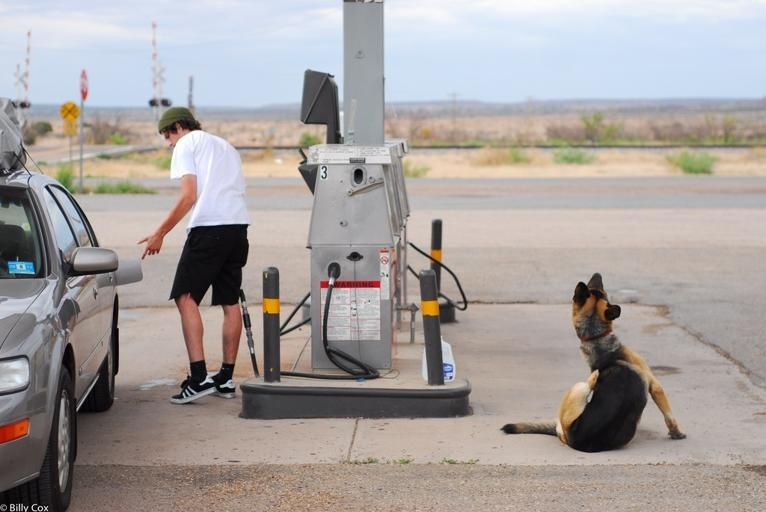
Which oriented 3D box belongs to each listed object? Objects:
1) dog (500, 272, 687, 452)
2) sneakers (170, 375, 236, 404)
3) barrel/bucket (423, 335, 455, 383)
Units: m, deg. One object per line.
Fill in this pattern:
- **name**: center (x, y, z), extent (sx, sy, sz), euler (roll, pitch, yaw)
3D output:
- **dog**: center (1.859, 0.926, 11.285), extent (1.858, 1.487, 1.075), euler (-5, 3, 28)
- **sneakers**: center (-1.751, 1.316, 12.084), extent (0.733, 0.273, 0.236), euler (0, 0, -8)
- **barrel/bucket**: center (0.556, 0.984, 11.881), extent (0.359, 0.434, 0.280), euler (-12, 20, -7)
